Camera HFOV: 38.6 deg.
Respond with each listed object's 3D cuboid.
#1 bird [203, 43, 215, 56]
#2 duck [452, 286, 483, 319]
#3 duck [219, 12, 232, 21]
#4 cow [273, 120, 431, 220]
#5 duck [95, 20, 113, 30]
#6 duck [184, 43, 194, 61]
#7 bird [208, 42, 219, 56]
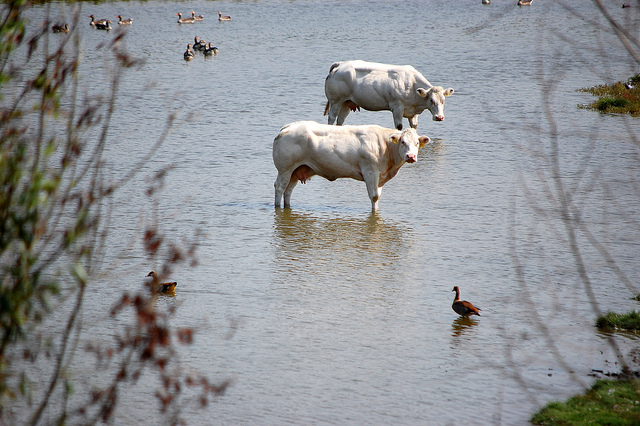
[{"bbox_3d":[-4.914,-7.178,40.374,0.407,0.414,0.760,-6,21,-34],"label":"bird"},{"bbox_3d":[2.491,1.534,15.355,0.549,0.450,0.284,9,0,12],"label":"duck"},{"bbox_3d":[-5.091,-10.747,50.142,0.431,0.573,0.802,7,6,44],"label":"duck"},{"bbox_3d":[0.531,-1.139,20.828,3.140,2.110,2.604,5,18,-3],"label":"cow"},{"bbox_3d":[-11.201,-9.764,47.437,0.808,0.568,1.120,2,18,-12],"label":"duck"},{"bbox_3d":[-5.652,-6.902,39.190,0.310,0.836,0.504,-2,-20,6],"label":"duck"},{"bbox_3d":[-4.752,-7.353,40.637,0.265,0.390,0.751,-5,46,-35],"label":"bird"}]
